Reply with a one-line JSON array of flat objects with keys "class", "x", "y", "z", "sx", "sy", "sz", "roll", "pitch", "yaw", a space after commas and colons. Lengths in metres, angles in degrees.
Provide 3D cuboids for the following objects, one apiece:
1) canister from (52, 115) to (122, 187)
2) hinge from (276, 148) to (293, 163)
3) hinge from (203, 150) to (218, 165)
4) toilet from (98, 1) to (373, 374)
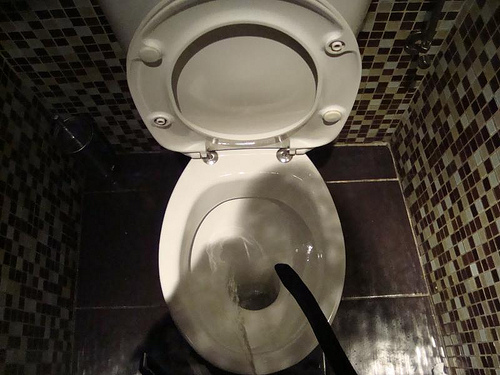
[{"class": "canister", "x": -0.759, "y": -0.172, "z": 1.637, "sx": 0.137, "sy": 0.331, "sz": 0.156, "roll": -23, "pitch": 80, "yaw": -2}, {"class": "hinge", "x": 0.120, "y": -0.114, "z": 1.271, "sx": 0.038, "sy": 0.049, "sz": 0.010, "roll": 10, "pitch": 23, "yaw": 1}, {"class": "hinge", "x": -0.143, "y": -0.108, "z": 1.265, "sx": 0.048, "sy": 0.060, "sz": 0.013, "roll": -18, "pitch": 17, "yaw": 0}, {"class": "toilet", "x": -0.051, "y": 0.040, "z": 1.242, "sx": 0.579, "sy": 1.053, "sz": 1.172, "roll": -2, "pitch": 73, "yaw": 3}]
